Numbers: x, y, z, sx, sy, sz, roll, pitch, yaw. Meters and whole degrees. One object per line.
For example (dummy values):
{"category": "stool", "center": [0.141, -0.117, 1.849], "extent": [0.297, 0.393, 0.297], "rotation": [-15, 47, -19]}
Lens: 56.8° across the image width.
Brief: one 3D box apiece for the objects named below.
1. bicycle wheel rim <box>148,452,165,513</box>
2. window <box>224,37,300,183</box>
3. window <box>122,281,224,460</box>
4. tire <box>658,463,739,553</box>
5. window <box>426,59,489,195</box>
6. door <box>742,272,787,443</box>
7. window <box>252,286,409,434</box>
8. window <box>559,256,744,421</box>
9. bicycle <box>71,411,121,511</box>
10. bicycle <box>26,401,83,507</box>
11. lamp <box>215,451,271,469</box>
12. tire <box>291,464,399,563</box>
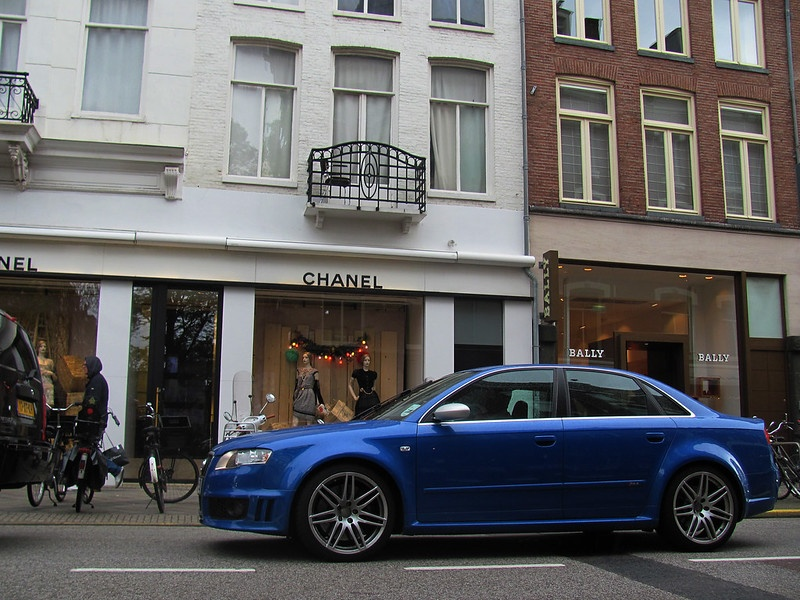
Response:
{"category": "bicycle wheel rim", "center": [-3.507, 2.659, 10.651], "extent": [0.234, 0.799, 0.572], "rotation": [0, 12, -19]}
{"category": "window", "center": [-2.901, -4.033, 15.624], "extent": [1.312, 2.699, 1.006], "rotation": [2, 11, -11]}
{"category": "window", "center": [-4.249, 1.523, 14.569], "extent": [1.512, 3.593, 0.406], "rotation": [3, 4, -3]}
{"category": "tire", "center": [3.193, 2.215, 8.005], "extent": [0.885, 0.912, 0.350], "rotation": [6, -10, -12]}
{"category": "window", "center": [1.297, -3.869, 16.557], "extent": [1.554, 3.060, 0.117], "rotation": [2, -7, -13]}
{"category": "door", "center": [8.610, 1.522, 17.319], "extent": [1.060, 4.590, 0.187], "rotation": [4, -12, -6]}
{"category": "window", "center": [-1.293, 1.278, 15.118], "extent": [3.443, 2.945, 0.281], "rotation": [2, -6, 6]}
{"category": "window", "center": [4.886, 0.628, 14.624], "extent": [3.365, 3.173, 1.186], "rotation": [2, -6, -18]}
{"category": "bicycle", "center": [-4.413, 2.412, 10.680], "extent": [0.592, 1.453, 0.848], "rotation": [4, 11, -1]}
{"category": "bicycle", "center": [-5.135, 2.267, 11.257], "extent": [0.837, 1.285, 1.992], "rotation": [-7, -9, -17]}
{"category": "lamp", "center": [-1.565, 1.557, 7.352], "extent": [0.349, 0.132, 0.281], "rotation": [1, -14, 0]}
{"category": "tire", "center": [-0.558, 2.035, 7.237], "extent": [0.929, 0.962, 0.310], "rotation": [0, -9, -9]}
